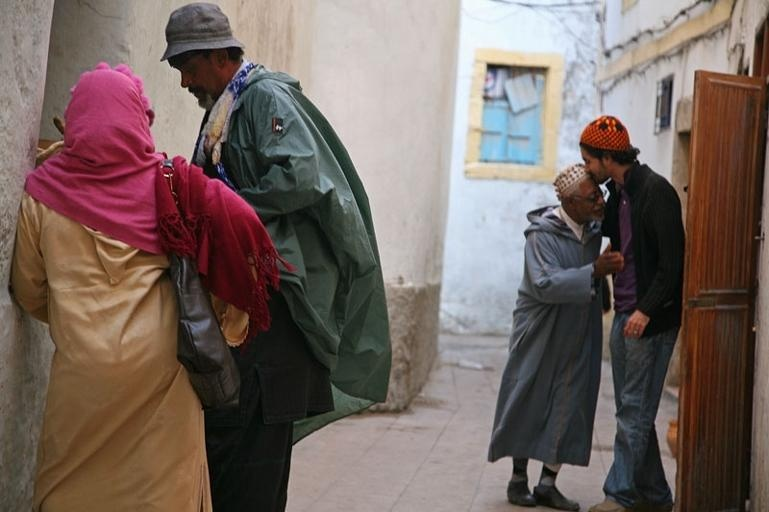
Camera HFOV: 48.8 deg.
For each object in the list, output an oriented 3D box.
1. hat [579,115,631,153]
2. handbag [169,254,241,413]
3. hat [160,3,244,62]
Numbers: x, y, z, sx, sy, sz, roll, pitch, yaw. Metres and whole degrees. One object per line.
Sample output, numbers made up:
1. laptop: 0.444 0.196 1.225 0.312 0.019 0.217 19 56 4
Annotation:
1. hat: 1.409 -0.803 5.440 0.293 0.211 0.326 6 24 -12
2. handbag: -0.756 0.315 3.500 0.188 0.601 0.566 -18 -5 1
3. hat: -0.882 -1.031 4.008 0.289 0.177 0.286 -14 9 -9
